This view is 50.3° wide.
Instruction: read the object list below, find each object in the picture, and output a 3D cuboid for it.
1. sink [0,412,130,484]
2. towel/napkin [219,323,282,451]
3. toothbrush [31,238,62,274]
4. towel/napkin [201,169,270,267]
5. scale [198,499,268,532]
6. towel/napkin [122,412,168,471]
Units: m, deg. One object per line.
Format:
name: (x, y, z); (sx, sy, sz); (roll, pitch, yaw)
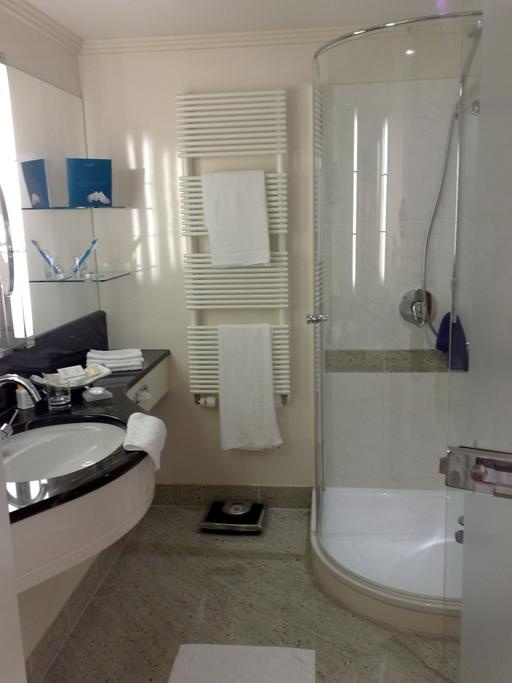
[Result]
sink: (-0.608, 0.331, 1.708); (0.359, 0.115, 0.220); (-7, 11, -33)
towel/napkin: (-0.021, 0.156, 3.034); (0.490, 0.115, 0.970); (14, 25, -8)
toothbrush: (-0.883, -0.352, 2.284); (0.124, 0.148, 0.073); (-7, 10, -33)
towel/napkin: (-0.105, -0.615, 2.776); (0.326, 0.446, 0.110); (1, 7, 0)
scale: (-0.119, 0.941, 2.925); (0.328, 0.063, 0.291); (0, 9, 7)
towel/napkin: (-0.329, 0.276, 1.609); (0.121, 0.068, 0.223); (-1, 25, 2)
